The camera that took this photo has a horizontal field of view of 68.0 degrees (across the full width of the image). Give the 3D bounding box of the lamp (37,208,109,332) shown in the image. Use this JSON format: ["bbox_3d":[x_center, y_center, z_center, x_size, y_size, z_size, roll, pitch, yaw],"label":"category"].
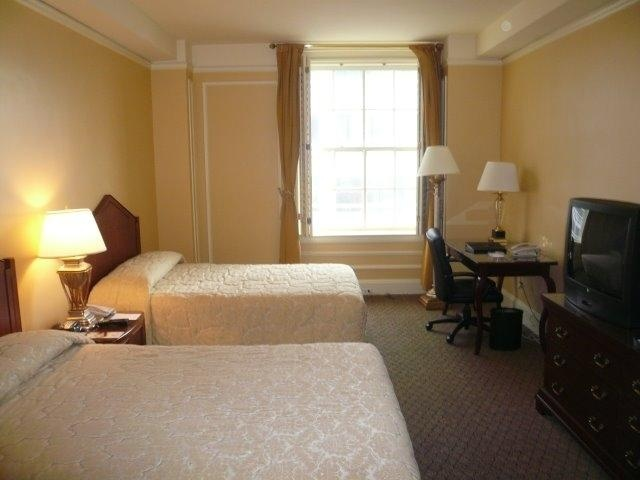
[{"bbox_3d":[-1.980,0.224,3.812,0.442,0.963,0.465,1,8,17],"label":"lamp"}]

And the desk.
[{"bbox_3d":[1.828,0.564,4.776,0.831,0.943,0.828,-2,10,6],"label":"desk"}]

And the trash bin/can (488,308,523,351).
[{"bbox_3d":[1.759,0.855,4.703,0.341,0.413,0.365,1,2,3],"label":"trash bin/can"}]

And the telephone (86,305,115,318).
[{"bbox_3d":[-1.791,0.579,3.879,0.114,0.040,0.126,6,9,5],"label":"telephone"}]

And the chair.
[{"bbox_3d":[1.517,0.437,4.907,0.790,1.042,0.746,-1,8,3],"label":"chair"}]
